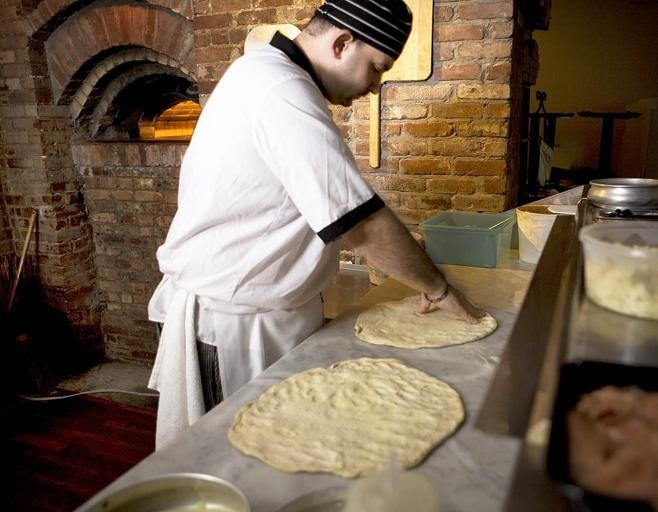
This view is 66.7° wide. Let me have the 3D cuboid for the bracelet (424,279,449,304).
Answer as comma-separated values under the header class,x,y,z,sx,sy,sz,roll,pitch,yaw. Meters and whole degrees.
class,x,y,z,sx,sy,sz,roll,pitch,yaw
bracelet,0.304,0.095,1.437,0.067,0.018,0.064,0,-33,-48
